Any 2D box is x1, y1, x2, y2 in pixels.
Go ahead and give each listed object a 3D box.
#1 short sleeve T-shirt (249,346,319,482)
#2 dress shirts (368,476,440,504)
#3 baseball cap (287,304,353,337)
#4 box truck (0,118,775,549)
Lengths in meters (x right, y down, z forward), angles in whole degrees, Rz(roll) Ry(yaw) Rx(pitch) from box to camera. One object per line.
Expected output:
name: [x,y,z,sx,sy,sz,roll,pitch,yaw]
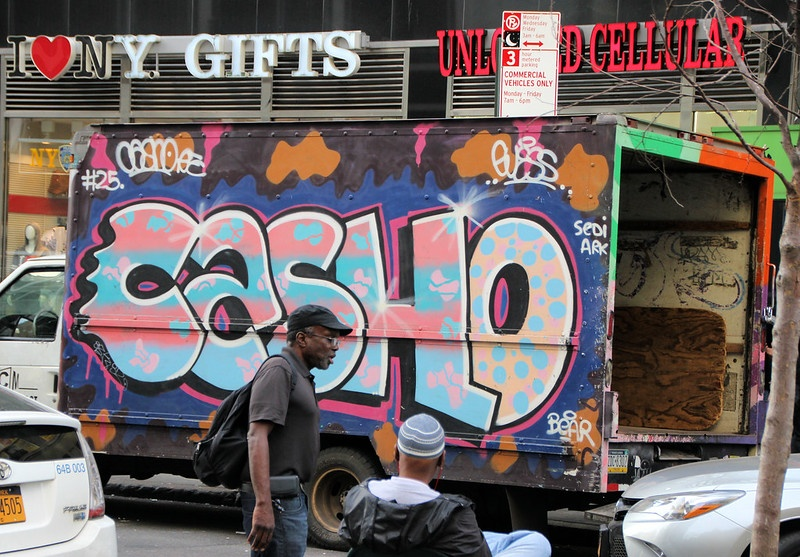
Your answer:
short sleeve T-shirt: [-0.945,1.124,10.862,0.565,1.092,1.023,0,-9,8]
dress shirts: [0.006,1.539,9.727,0.384,0.131,0.210,9,1,9]
baseball cap: [-0.708,0.344,11.130,0.392,0.201,0.259,-2,-4,-3]
box truck: [0.251,0.492,15.198,6.813,3.759,4.315,-1,-2,20]
